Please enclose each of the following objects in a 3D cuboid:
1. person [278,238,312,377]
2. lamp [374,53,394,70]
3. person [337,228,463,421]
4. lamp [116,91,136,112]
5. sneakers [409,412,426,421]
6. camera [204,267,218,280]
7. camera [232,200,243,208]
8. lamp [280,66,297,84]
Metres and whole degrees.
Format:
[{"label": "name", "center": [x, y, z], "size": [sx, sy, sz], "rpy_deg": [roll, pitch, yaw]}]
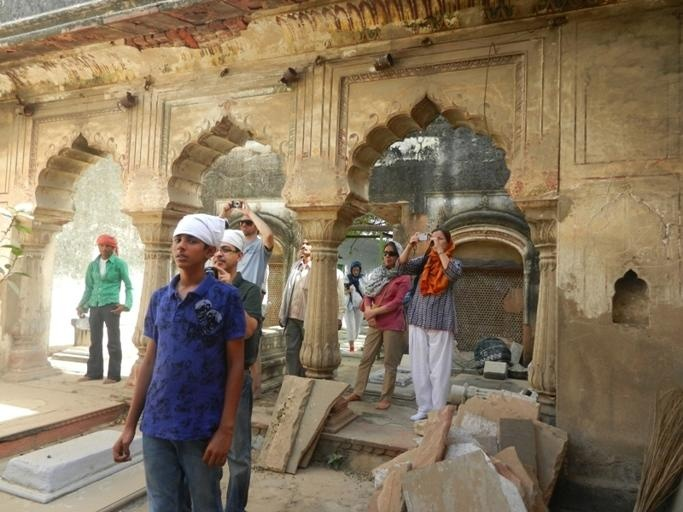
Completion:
[{"label": "person", "center": [-0.571, 0.676, 6.517], "size": [0.325, 1.448, 0.357], "rpy_deg": [1, -3, -1]}, {"label": "lamp", "center": [0.419, -1.956, 5.456], "size": [0.188, 0.107, 0.136], "rpy_deg": [-1, -4, 37]}, {"label": "person", "center": [0.789, 0.713, 5.808], "size": [0.471, 1.983, 1.158], "rpy_deg": [3, -4, -36]}, {"label": "lamp", "center": [-2.616, -1.877, 6.568], "size": [0.238, 0.186, 0.093], "rpy_deg": [-27, 5, 31]}, {"label": "sneakers", "center": [0.781, 1.638, 5.509], "size": [0.172, 0.073, 0.071], "rpy_deg": [0, -4, -4]}, {"label": "camera", "center": [-0.865, 0.119, 3.669], "size": [0.090, 0.102, 0.102], "rpy_deg": [-1, -13, 0]}, {"label": "camera", "center": [-1.008, -0.508, 5.226], "size": [0.144, 0.084, 0.058], "rpy_deg": [-5, -9, 42]}, {"label": "lamp", "center": [-0.580, -1.947, 5.840], "size": [0.217, 0.167, 0.139], "rpy_deg": [-1, -4, 27]}]
